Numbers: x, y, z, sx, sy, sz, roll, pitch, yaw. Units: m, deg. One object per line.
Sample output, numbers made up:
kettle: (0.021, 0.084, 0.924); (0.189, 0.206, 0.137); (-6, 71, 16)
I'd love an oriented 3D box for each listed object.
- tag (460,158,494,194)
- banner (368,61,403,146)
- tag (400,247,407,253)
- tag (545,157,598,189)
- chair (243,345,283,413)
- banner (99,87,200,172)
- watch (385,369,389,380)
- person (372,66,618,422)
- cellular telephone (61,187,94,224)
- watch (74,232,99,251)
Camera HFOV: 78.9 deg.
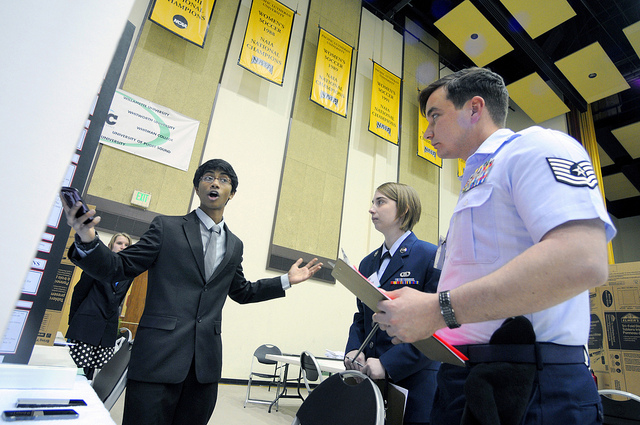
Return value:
tag: (0.538, -0.125, 1.330); (0.006, 0.094, 0.135); (24, -13, -6)
banner: (1.243, -1.919, 6.983); (0.743, 1.507, 0.202); (16, -19, -31)
tag: (0.456, 0.203, 2.103); (0.026, 0.026, 0.006); (-19, -63, 44)
tag: (0.706, -0.103, 1.062); (0.146, 0.093, 0.009); (-4, -21, -15)
chair: (-0.624, 1.876, 4.486); (0.472, 0.634, 0.490); (19, -17, -35)
banner: (-2.043, -0.947, 4.622); (1.355, 0.898, 0.054); (22, -18, -33)
watch: (0.305, 0.731, 1.757); (0.019, 0.039, 0.010); (13, -18, -22)
person: (0.541, 0.016, 1.233); (0.619, 1.260, 0.422); (-7, -21, 36)
cellular telephone: (-0.881, -0.035, 1.390); (0.085, 0.082, 0.147); (8, -17, -7)
watch: (-0.948, 0.116, 1.576); (0.067, 0.039, 0.080); (-2, -5, -4)
